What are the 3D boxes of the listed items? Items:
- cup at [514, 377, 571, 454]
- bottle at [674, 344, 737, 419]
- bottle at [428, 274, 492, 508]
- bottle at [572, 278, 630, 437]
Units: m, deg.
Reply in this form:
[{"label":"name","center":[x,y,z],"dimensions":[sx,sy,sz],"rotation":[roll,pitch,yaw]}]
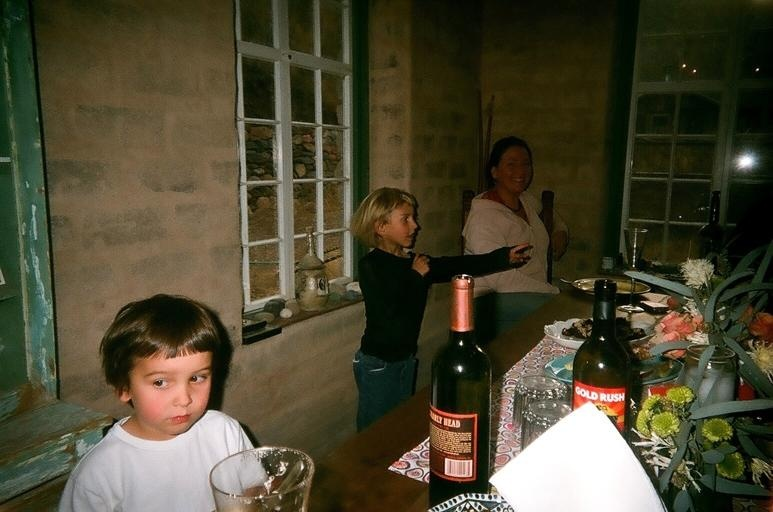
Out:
[{"label":"cup","center":[0.438,0.450,1.631],"dimensions":[0.194,0.240,0.184],"rotation":[-1,0,0]},{"label":"bottle","center":[0.820,0.302,1.421],"dimensions":[0.135,0.146,0.160],"rotation":[1,7,20]},{"label":"bottle","center":[0.190,0.342,1.479],"dimensions":[0.161,0.612,0.226],"rotation":[-1,7,9]},{"label":"bottle","center":[0.579,0.257,1.502],"dimensions":[0.237,0.408,0.156],"rotation":[-8,10,-42]}]
